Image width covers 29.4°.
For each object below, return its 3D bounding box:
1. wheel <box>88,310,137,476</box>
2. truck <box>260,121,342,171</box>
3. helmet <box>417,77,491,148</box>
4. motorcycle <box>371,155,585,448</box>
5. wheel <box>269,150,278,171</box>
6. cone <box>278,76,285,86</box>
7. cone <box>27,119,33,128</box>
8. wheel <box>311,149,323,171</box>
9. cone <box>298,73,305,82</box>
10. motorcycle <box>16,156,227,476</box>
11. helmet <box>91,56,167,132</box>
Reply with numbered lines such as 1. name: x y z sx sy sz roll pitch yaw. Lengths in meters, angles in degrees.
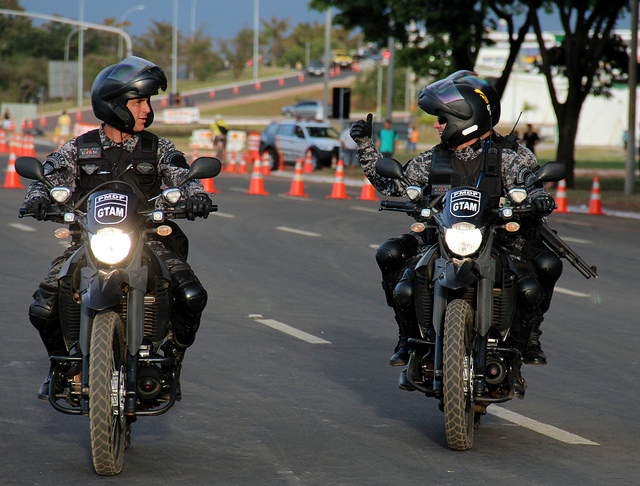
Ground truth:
1. wheel: -1.388 1.031 8.107 0.280 1.136 0.425 8 14 23
2. truck: -0.596 -2.985 37.518 1.215 1.343 2.958 -4 12 -26
3. helmet: 1.060 -1.009 9.320 0.680 0.485 0.474 -2 14 3
4. motorcycle: 1.038 0.447 8.797 1.217 2.043 1.173 4 13 9
5. wheel: -1.507 -2.579 37.982 0.312 0.691 0.778 1 -6 -6
6. cone: -0.343 -1.369 10.297 0.081 0.036 0.122 -1 -10 -4
7. cone: -13.862 -5.687 58.344 0.371 0.294 0.449 4 -14 -7
8. wheel: -0.154 -2.506 36.529 0.284 0.633 0.710 -6 -7 -11
9. cone: -0.198 -1.575 11.685 0.091 0.098 0.114 -2 10 -3
10. motorcycle: -1.335 0.501 8.318 1.197 2.103 1.036 1 13 -4
11. helmet: -1.423 -1.101 8.969 0.642 0.483 0.443 -1 14 3
